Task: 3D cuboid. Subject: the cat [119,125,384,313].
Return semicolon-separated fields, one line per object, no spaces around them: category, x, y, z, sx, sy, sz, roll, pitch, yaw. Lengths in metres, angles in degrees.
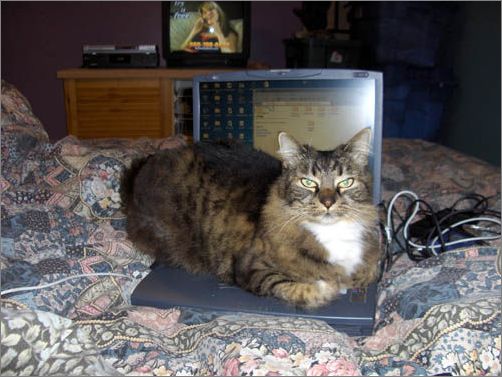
cat;-0.033;-0.014;1.804;0.966;0.542;0.579;18;23;35

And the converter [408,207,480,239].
converter;0.702;0.111;1.805;0.189;0.077;0.332;3;-9;4

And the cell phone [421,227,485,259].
cell phone;0.654;0.186;1.610;0.155;0.027;0.091;-15;24;13

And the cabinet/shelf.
cabinet/shelf;-0.832;-0.541;3.042;1.093;0.432;0.401;-4;21;-14
